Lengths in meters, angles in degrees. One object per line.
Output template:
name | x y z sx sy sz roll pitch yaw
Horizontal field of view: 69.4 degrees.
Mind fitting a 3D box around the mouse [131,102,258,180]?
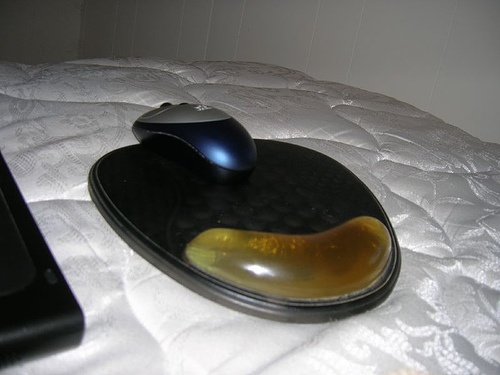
mouse | -0.068 -0.078 0.436 0.139 0.051 0.082 30 36 26
